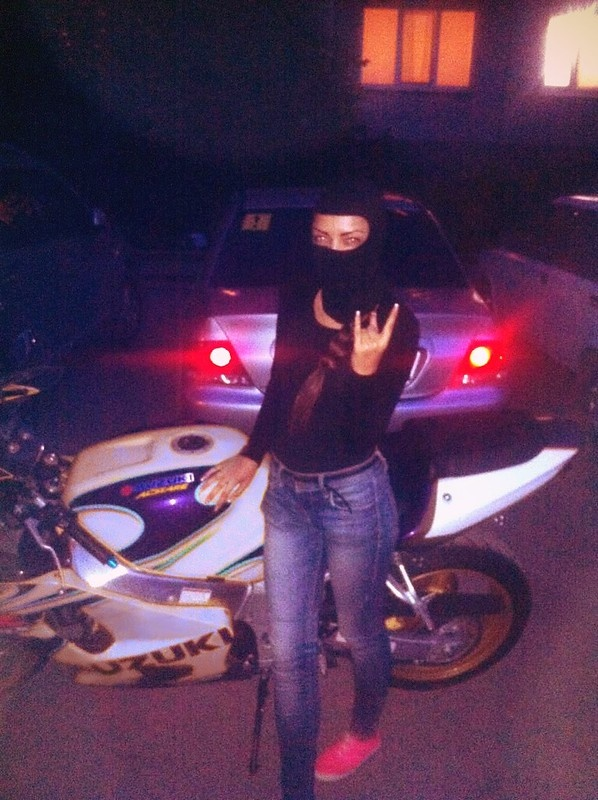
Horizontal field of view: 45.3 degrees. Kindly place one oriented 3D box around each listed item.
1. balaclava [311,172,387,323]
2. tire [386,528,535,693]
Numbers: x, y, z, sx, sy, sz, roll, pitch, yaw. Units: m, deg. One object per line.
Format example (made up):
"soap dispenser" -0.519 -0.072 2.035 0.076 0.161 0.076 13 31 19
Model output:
"balaclava" 0.112 -0.384 1.987 0.264 0.242 0.478 -6 47 1
"tire" 0.517 0.690 2.304 0.430 0.513 0.119 0 24 -23
